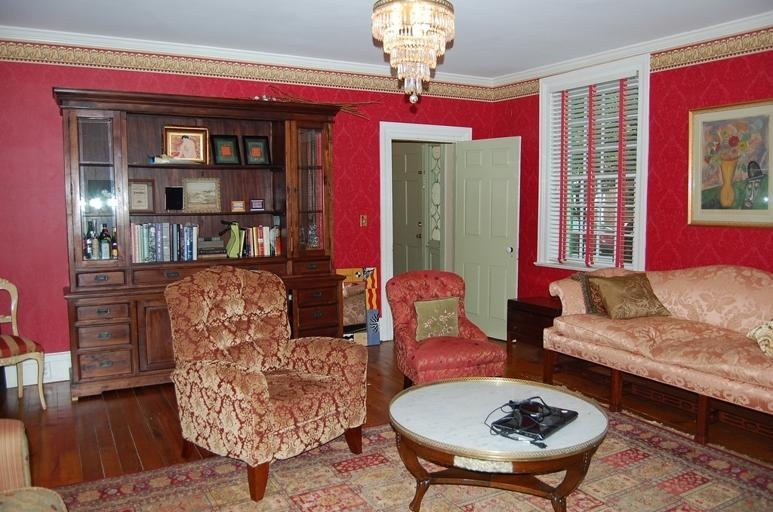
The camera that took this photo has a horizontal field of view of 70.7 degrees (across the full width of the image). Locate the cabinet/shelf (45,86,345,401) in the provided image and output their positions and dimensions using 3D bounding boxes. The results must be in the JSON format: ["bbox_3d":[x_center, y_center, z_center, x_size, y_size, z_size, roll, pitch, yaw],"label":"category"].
[{"bbox_3d":[-2.079,-0.121,5.575,3.671,3.233,0.927,-4,6,-28],"label":"cabinet/shelf"}]

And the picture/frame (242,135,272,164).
[{"bbox_3d":[-1.527,-1.234,6.336,0.414,0.413,0.034,-4,-5,-30],"label":"picture/frame"}]

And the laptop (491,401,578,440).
[{"bbox_3d":[1.037,1.157,3.838,0.546,0.099,0.320,-11,17,-39],"label":"laptop"}]

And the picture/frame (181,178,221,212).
[{"bbox_3d":[-2.109,-0.683,6.126,0.435,0.388,0.032,-2,1,-31],"label":"picture/frame"}]

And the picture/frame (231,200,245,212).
[{"bbox_3d":[-1.731,-0.577,6.318,0.171,0.140,0.056,0,15,-13],"label":"picture/frame"}]

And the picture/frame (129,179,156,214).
[{"bbox_3d":[-2.656,-0.651,5.898,0.219,0.333,0.294,-4,15,-13],"label":"picture/frame"}]

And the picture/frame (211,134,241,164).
[{"bbox_3d":[-1.838,-1.201,6.174,0.399,0.405,0.035,-3,-2,-32],"label":"picture/frame"}]

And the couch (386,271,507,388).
[{"bbox_3d":[0.472,0.669,5.630,1.105,1.200,1.249,-3,0,-18],"label":"couch"}]

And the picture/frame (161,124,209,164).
[{"bbox_3d":[-2.244,-1.220,6.013,0.554,0.485,0.053,-1,0,-24],"label":"picture/frame"}]

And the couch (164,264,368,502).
[{"bbox_3d":[-0.918,0.909,5.100,1.904,1.920,1.653,1,4,42],"label":"couch"}]
